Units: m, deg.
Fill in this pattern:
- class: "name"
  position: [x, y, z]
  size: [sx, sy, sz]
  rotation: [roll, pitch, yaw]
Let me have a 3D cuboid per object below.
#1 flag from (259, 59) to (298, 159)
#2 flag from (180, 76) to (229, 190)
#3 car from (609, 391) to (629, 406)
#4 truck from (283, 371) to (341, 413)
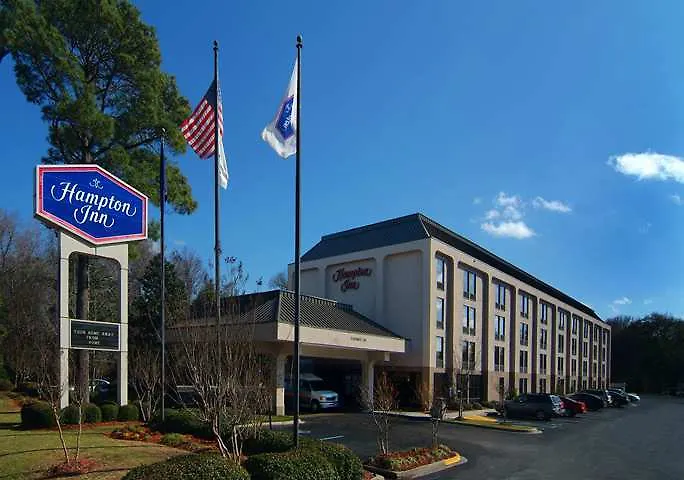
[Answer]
- class: "flag"
  position: [-2.918, -6.466, 31.941]
  size: [1.462, 4.721, 0.934]
  rotation: [1, -15, -7]
- class: "flag"
  position: [-7.258, -5.762, 34.521]
  size: [2.057, 5.479, 1.649]
  rotation: [2, -15, -11]
- class: "car"
  position: [31.102, 17.614, 71.320]
  size: [3.029, 1.402, 1.608]
  rotation: [4, -11, 5]
- class: "truck"
  position: [-2.341, 11.869, 50.091]
  size: [3.980, 2.557, 2.499]
  rotation: [-15, -17, 41]
